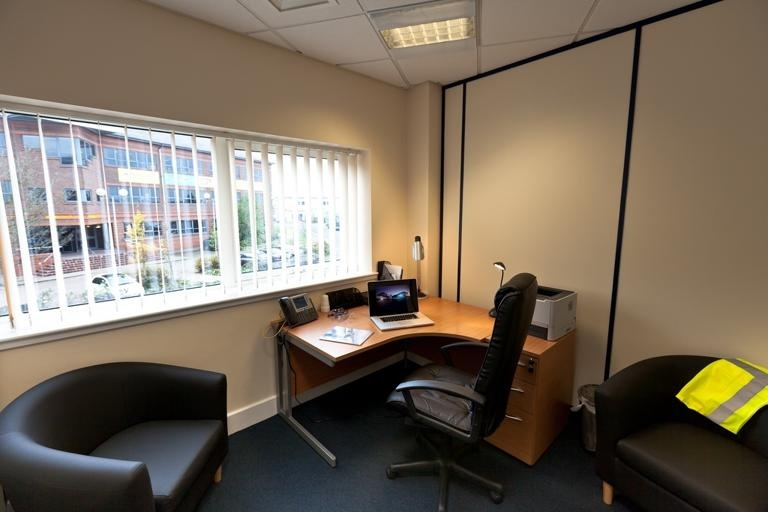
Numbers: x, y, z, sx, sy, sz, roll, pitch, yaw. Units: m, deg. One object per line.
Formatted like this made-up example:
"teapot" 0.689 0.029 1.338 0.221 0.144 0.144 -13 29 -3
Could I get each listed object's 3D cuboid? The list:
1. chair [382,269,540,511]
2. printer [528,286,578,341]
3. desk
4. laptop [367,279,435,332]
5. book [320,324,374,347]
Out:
"chair" 0.563 0.961 3.881 0.940 1.687 0.640 3 11 26
"printer" 1.356 0.479 4.429 0.416 0.321 0.424 -19 21 -41
"desk" 0.427 0.919 4.434 1.590 0.845 1.625 10 15 41
"laptop" 0.096 0.409 4.614 0.505 0.425 0.336 1 1 -17
"book" -0.297 0.638 4.278 0.387 0.057 0.303 1 9 12
